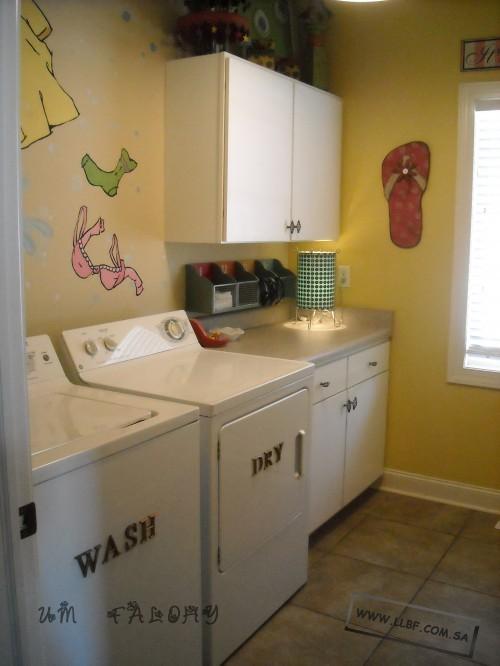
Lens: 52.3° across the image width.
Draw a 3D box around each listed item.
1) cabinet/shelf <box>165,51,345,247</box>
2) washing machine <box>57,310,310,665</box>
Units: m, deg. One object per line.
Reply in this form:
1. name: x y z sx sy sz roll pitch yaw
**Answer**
1. cabinet/shelf: 0.074 -0.816 2.460 0.348 0.771 0.968 10 15 37
2. washing machine: -0.090 0.410 2.365 0.926 1.756 0.967 7 16 30
